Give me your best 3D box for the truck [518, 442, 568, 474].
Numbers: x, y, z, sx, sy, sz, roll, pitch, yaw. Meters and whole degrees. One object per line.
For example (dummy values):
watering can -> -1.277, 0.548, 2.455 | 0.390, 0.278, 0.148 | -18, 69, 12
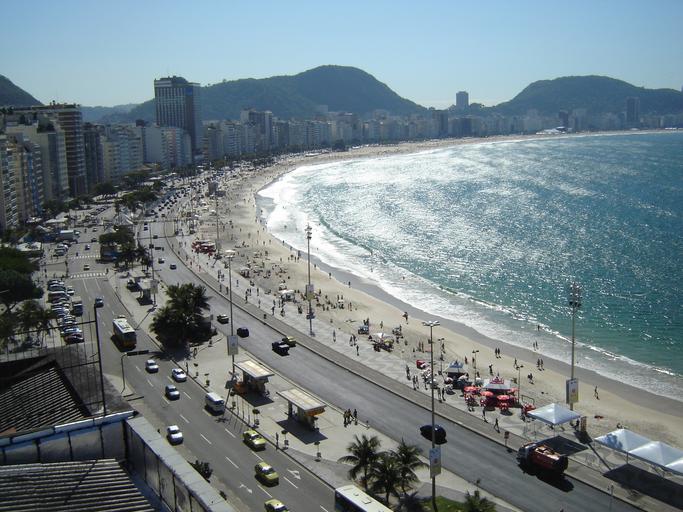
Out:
truck -> 17.990, 17.943, 55.479 | 3.428, 1.524, 2.146 | 8, 10, 38

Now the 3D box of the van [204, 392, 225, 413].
van -> -13.326, 15.313, 65.373 | 1.335, 1.218, 2.388 | -19, 41, -39
